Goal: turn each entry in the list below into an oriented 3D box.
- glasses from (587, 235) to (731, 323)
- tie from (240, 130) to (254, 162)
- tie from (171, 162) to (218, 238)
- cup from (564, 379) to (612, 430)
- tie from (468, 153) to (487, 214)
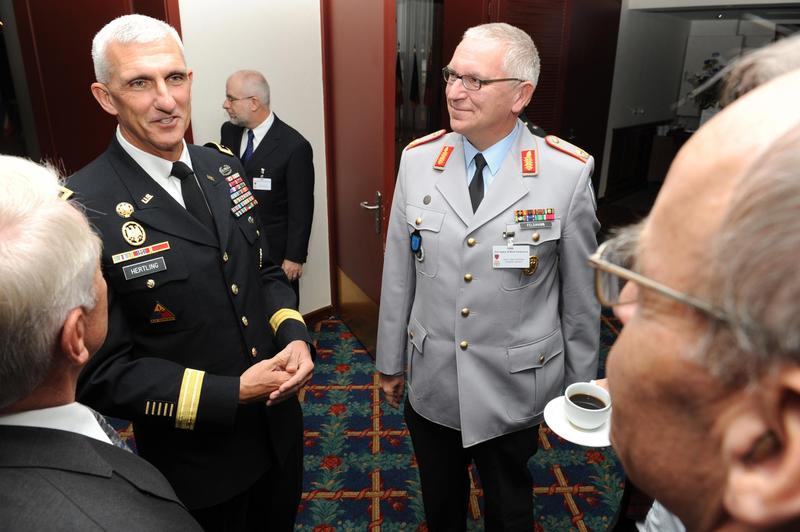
[{"bbox_3d":[0.399,0.021,0.894,0.120,0.044,0.128,24,16,9],"label":"glasses"},{"bbox_3d":[-0.989,-0.761,3.519,0.061,0.254,0.027,7,-3,11],"label":"tie"},{"bbox_3d":[-0.732,-0.223,1.922,0.050,0.267,0.065,-21,5,2],"label":"tie"},{"bbox_3d":[0.591,0.443,1.731,0.115,0.098,0.206,-2,17,4],"label":"cup"},{"bbox_3d":[0.290,-0.310,2.055,0.054,0.254,0.033,5,-14,6],"label":"tie"}]
